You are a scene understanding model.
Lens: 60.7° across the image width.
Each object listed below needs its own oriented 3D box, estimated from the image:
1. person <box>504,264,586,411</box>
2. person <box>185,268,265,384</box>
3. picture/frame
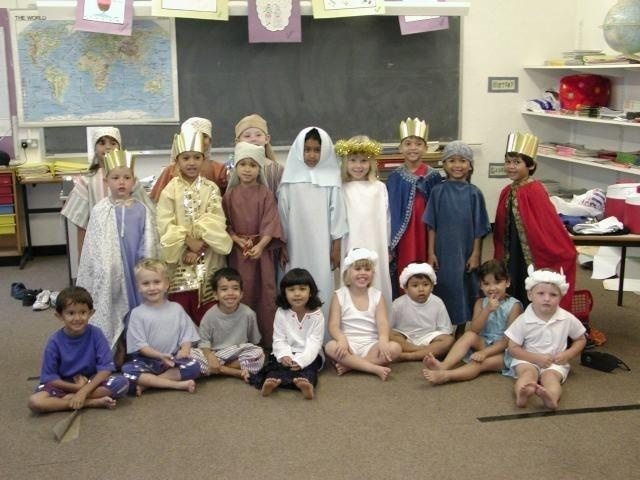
[{"bbox_3d":[1.190,0.471,2.897,0.427,0.623,0.702,3,18,16],"label":"person"},{"bbox_3d":[-0.498,0.454,3.211,0.587,0.723,0.531,-2,12,-15],"label":"person"},{"bbox_3d":[-2.045,-1.555,4.850,1.348,0.944,0.031,-2,21,-8],"label":"picture/frame"}]
